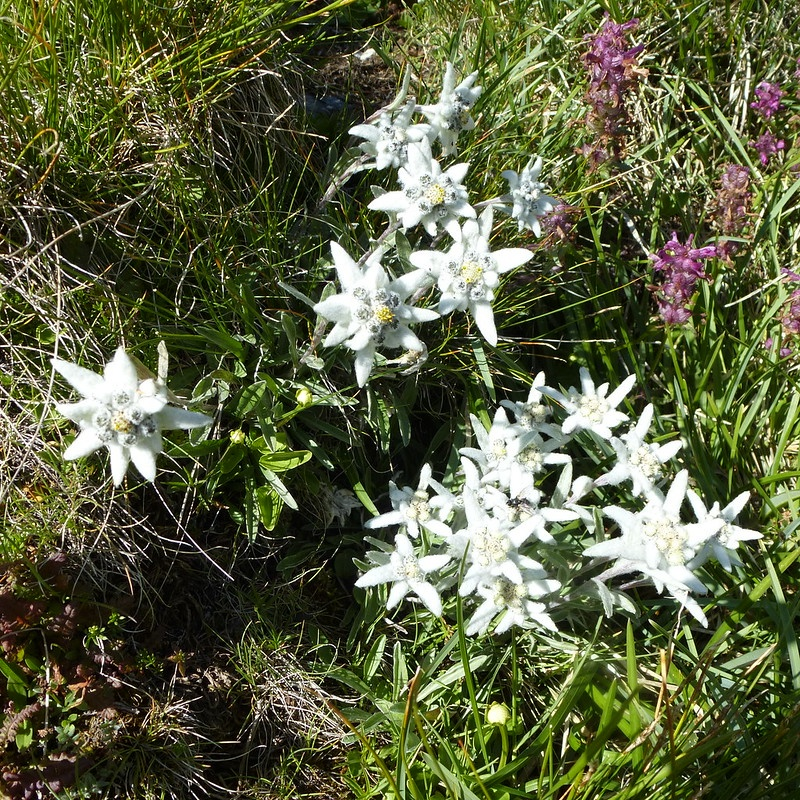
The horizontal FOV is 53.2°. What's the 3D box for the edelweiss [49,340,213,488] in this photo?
[{"bbox_3d":[-0.957,0.053,2.730,0.449,0.397,0.372,-43,52,-9],"label":"edelweiss"}]
